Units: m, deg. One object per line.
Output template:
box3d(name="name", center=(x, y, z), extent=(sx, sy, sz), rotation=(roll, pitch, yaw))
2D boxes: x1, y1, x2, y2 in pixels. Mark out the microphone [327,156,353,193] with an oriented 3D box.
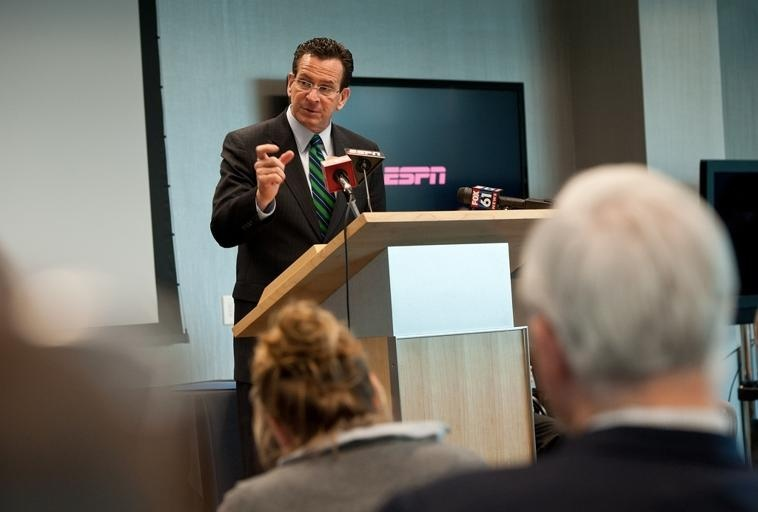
box3d(name="microphone", center=(-0.107, -0.215, 1.643), extent=(0.070, 0.072, 0.038), rotation=(-29, 24, -23))
